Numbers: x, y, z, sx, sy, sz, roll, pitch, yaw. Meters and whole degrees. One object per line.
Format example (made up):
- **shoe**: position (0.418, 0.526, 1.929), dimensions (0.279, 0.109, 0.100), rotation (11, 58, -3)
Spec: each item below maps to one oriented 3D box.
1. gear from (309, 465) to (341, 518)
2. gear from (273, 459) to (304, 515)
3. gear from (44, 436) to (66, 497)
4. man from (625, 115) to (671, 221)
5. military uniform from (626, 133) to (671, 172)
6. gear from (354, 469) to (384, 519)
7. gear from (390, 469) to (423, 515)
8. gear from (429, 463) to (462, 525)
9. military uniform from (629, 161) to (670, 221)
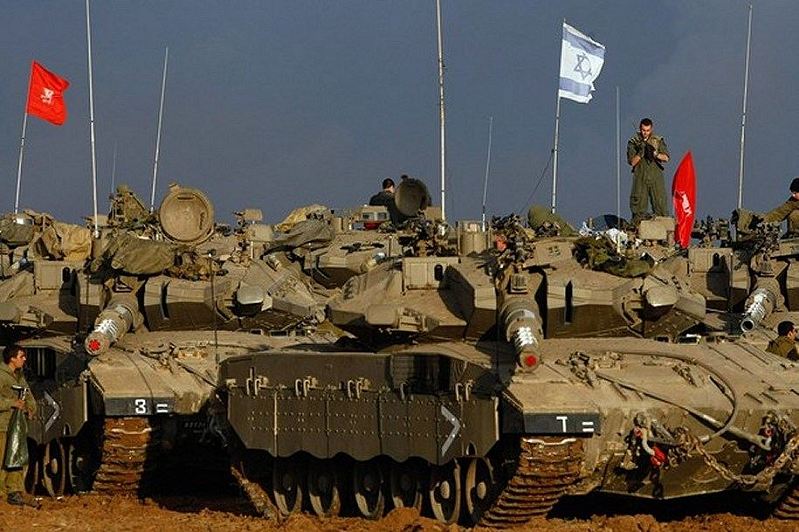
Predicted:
- **gear**: position (-1.487, 4.656, 25.374), dimensions (0.382, 1.199, 0.878), rotation (-2, 1, -36)
- **gear**: position (-2.298, 4.663, 25.955), dimensions (0.409, 1.383, 1.016), rotation (-2, 1, -34)
- **gear**: position (-7.847, 4.611, 28.016), dimensions (0.361, 1.144, 1.013), rotation (-1, 25, -37)
- **man**: position (6.741, -2.330, 32.828), dimensions (0.939, 3.443, 0.972), rotation (-4, 24, 6)
- **military uniform**: position (6.462, -3.094, 32.056), dimensions (1.216, 0.598, 1.842), rotation (-7, 20, -3)
- **gear**: position (-0.577, 4.614, 25.020), dimensions (0.327, 1.107, 0.777), rotation (-5, 7, -37)
- **gear**: position (0.125, 4.400, 24.485), dimensions (0.223, 0.796, 0.694), rotation (-5, 27, -42)
- **gear**: position (0.948, 4.402, 23.812), dimensions (0.169, 1.398, 0.982), rotation (1, 3, -36)
- **military uniform**: position (6.846, -2.190, 33.132), dimensions (1.019, 0.660, 2.834), rotation (-1, -36, 11)
